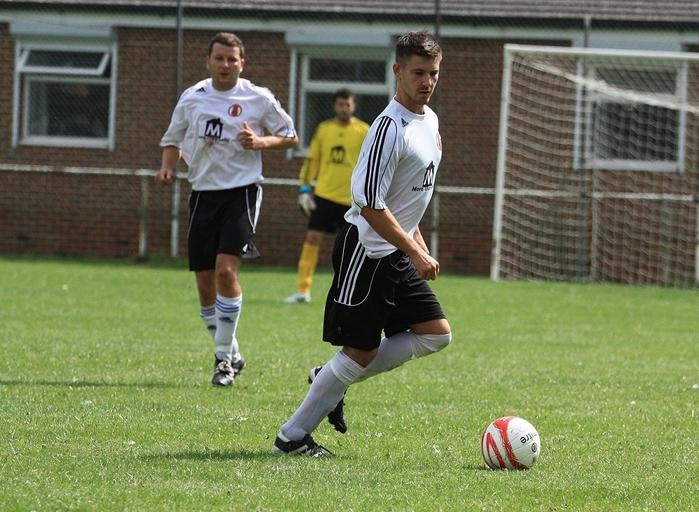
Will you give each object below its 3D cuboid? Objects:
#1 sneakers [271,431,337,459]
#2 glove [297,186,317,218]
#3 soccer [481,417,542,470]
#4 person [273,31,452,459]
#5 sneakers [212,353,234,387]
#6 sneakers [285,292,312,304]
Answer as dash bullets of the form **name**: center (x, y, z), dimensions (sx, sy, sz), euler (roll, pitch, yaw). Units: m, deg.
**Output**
- **sneakers**: center (-0.342, 1.387, 9.399), dimensions (0.486, 0.217, 0.170), euler (2, -2, -7)
- **glove**: center (-0.520, -0.631, 15.169), dimensions (0.117, 0.345, 0.247), euler (-6, 0, 23)
- **soccer**: center (1.206, 1.395, 9.350), dimensions (0.356, 0.385, 0.380), euler (2, -14, 23)
- **person**: center (0.280, 0.000, 9.685), dimensions (1.065, 3.260, 1.481), euler (2, 3, -43)
- **sneakers**: center (-1.067, 0.961, 10.798), dimensions (0.182, 0.224, 0.327), euler (2, 12, -1)
- **sneakers**: center (-0.591, 0.491, 14.683), dimensions (0.310, 0.138, 0.117), euler (2, 1, -3)
